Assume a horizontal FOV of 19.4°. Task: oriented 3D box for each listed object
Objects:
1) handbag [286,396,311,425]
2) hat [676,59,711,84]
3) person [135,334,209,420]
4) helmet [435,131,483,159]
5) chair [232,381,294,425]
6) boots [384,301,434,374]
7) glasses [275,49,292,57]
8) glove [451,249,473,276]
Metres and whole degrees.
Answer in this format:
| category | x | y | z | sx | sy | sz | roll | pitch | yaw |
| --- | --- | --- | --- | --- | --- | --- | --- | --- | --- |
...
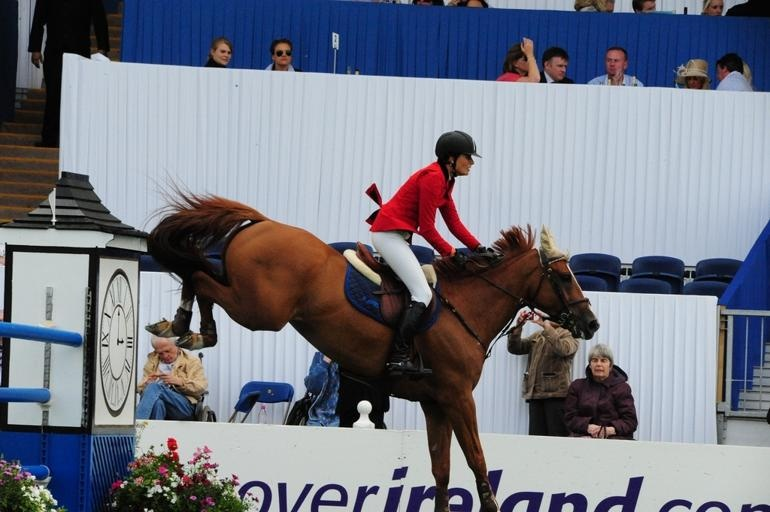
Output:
| category | x | y | z | sx | sy | sz | roll | pitch | yaw |
| --- | --- | --- | --- | --- | --- | --- | --- | --- | --- |
| handbag | -1.077 | 1.968 | 28.649 | 0.160 | 0.489 | 0.189 | 17 | 6 | -38 |
| hat | 4.503 | -2.661 | 32.445 | 0.392 | 0.358 | 0.588 | 4 | -5 | -4 |
| person | -2.660 | 1.526 | 28.120 | 0.493 | 0.780 | 1.057 | -18 | 30 | 11 |
| helmet | 0.893 | -1.311 | 26.698 | 0.441 | 0.247 | 0.309 | 0 | 1 | 12 |
| chair | -1.600 | 1.902 | 29.213 | 0.581 | 0.763 | 0.601 | 7 | -7 | -10 |
| boots | 0.334 | 0.953 | 26.404 | 0.594 | 0.856 | 0.311 | 5 | -8 | -8 |
| glasses | -1.386 | -2.847 | 31.864 | 0.125 | 0.103 | 0.238 | -1 | -7 | 43 |
| glove | 0.965 | 0.072 | 26.765 | 0.191 | 0.264 | 0.095 | -2 | 9 | 32 |
